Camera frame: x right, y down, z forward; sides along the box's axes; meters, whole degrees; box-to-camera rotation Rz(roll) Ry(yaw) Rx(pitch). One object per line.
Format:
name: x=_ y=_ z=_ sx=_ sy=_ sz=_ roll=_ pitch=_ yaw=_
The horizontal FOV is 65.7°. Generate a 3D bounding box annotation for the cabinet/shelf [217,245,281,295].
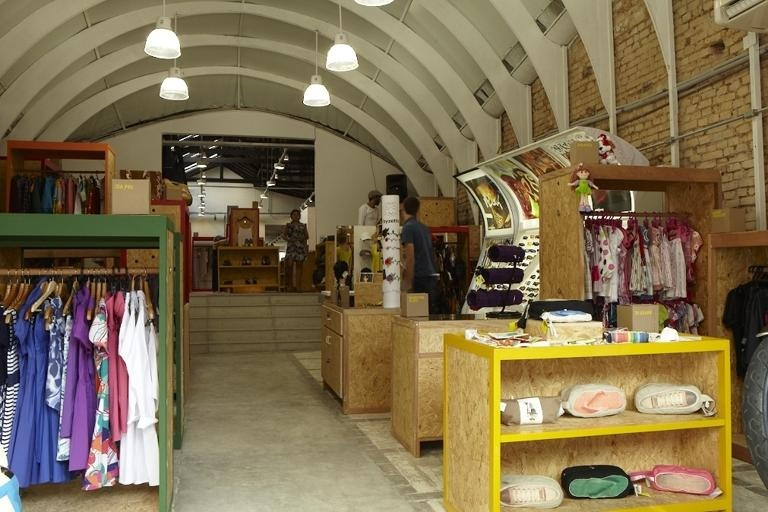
cabinet/shelf: x=-3.333 y=0.349 z=14.613 sx=1.105 sy=0.842 sz=0.373 roll=0 pitch=-3 yaw=-10

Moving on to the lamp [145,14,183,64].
lamp: x=-3.042 y=-3.059 z=8.251 sx=0.478 sy=0.529 sz=0.477 roll=4 pitch=24 yaw=-10

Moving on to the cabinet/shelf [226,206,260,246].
cabinet/shelf: x=-3.819 y=-0.768 z=16.041 sx=0.966 sy=1.757 sz=0.937 roll=0 pitch=-3 yaw=-12

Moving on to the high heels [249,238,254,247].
high heels: x=-3.412 y=-0.323 z=15.292 sx=0.117 sy=0.173 sz=0.150 roll=5 pitch=8 yaw=7

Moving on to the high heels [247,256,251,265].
high heels: x=-3.295 y=0.130 z=14.638 sx=0.138 sy=0.256 sz=0.174 roll=-3 pitch=1 yaw=-13
